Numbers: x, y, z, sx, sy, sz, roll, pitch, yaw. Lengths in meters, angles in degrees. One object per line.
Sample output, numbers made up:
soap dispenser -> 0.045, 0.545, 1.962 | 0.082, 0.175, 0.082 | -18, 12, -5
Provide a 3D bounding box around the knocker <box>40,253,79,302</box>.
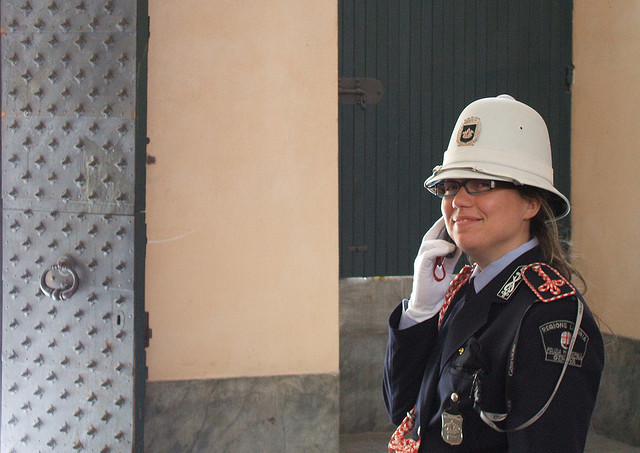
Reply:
knocker -> -2.178, 0.412, 9.665 | 0.281, 0.396, 0.156 | 18, 2, 1
